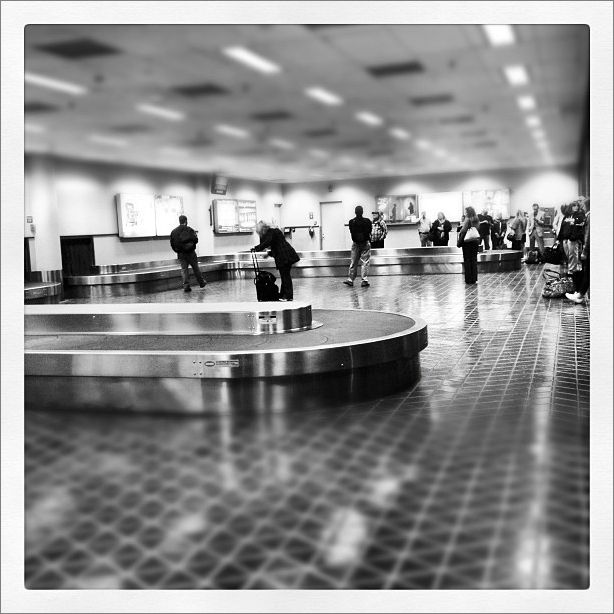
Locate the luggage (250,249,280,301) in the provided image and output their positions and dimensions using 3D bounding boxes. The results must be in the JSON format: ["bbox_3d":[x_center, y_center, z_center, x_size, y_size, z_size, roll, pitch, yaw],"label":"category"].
[{"bbox_3d":[-0.614,-0.328,7.960,0.368,0.462,0.682,-5,5,-4],"label":"luggage"}]

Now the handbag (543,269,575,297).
[{"bbox_3d":[4.114,-0.396,8.715,0.550,0.573,0.352,-5,7,-3],"label":"handbag"}]

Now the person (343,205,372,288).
[{"bbox_3d":[1.073,-1.257,11.273,0.574,1.704,1.253,-4,5,2],"label":"person"}]

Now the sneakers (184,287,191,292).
[{"bbox_3d":[-2.758,-0.413,12.119,0.148,0.148,0.088,3,-2,-8],"label":"sneakers"}]

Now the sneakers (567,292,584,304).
[{"bbox_3d":[4.107,-0.150,8.133,0.096,0.122,0.269,-16,20,-15],"label":"sneakers"}]

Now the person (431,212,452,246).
[{"bbox_3d":[4.430,-2.607,17.586,0.661,1.084,1.753,-3,5,14],"label":"person"}]

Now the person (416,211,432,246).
[{"bbox_3d":[4.109,-2.735,18.421,0.384,1.160,0.964,-3,6,12],"label":"person"}]

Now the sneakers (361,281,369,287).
[{"bbox_3d":[1.292,-0.527,11.803,0.118,0.075,0.122,1,2,19],"label":"sneakers"}]

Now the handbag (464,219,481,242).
[{"bbox_3d":[3.257,-1.449,10.314,0.385,0.329,0.249,-7,6,-20],"label":"handbag"}]

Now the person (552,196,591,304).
[{"bbox_3d":[3.983,-0.813,7.833,0.362,1.514,0.783,-2,6,26],"label":"person"}]

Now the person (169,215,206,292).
[{"bbox_3d":[-2.713,-1.190,11.891,0.641,1.693,1.375,-6,6,-12],"label":"person"}]

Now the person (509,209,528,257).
[{"bbox_3d":[6.626,-2.428,16.652,0.512,1.293,1.513,-2,6,25],"label":"person"}]
